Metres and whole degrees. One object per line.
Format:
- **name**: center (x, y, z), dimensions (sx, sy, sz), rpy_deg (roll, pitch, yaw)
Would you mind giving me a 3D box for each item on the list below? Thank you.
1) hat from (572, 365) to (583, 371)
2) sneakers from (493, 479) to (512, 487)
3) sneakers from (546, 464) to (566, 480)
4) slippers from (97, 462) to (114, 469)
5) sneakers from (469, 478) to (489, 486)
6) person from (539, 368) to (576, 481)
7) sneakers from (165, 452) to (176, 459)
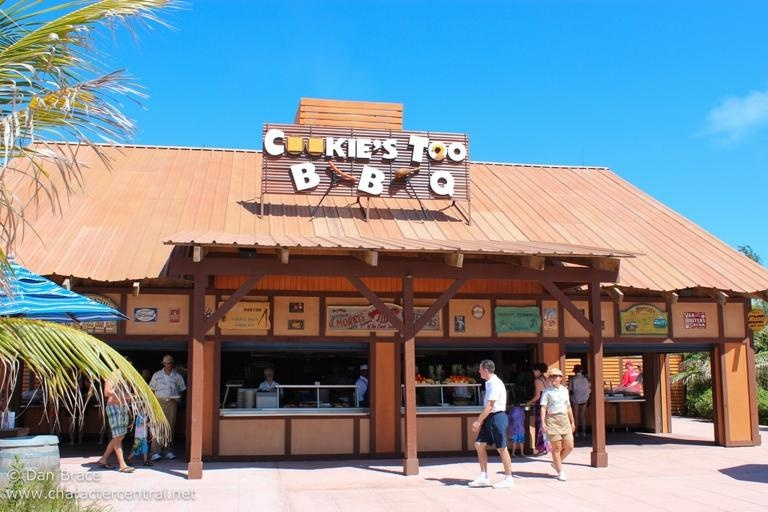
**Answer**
- **hat**: center (5.088, 2.983, 18.593), dimensions (0.241, 0.149, 0.297), rpy_deg (-1, -1, -8)
- **sneakers**: center (2.187, 4.200, 12.969), dimensions (0.345, 0.156, 0.204), rpy_deg (-2, -15, 7)
- **sneakers**: center (3.437, 4.228, 13.819), dimensions (0.215, 0.211, 0.552), rpy_deg (0, -8, -10)
- **slippers**: center (-5.627, 4.219, 14.122), dimensions (0.353, 0.101, 0.134), rpy_deg (6, -10, 2)
- **sneakers**: center (1.779, 4.210, 13.088), dimensions (0.425, 0.159, 0.148), rpy_deg (3, -12, -5)
- **person**: center (3.427, 3.267, 13.730), dimensions (0.806, 2.052, 0.648), rpy_deg (4, -9, -18)
- **sneakers**: center (-4.629, 4.378, 15.419), dimensions (0.196, 0.138, 0.473), rpy_deg (0, -14, 1)
